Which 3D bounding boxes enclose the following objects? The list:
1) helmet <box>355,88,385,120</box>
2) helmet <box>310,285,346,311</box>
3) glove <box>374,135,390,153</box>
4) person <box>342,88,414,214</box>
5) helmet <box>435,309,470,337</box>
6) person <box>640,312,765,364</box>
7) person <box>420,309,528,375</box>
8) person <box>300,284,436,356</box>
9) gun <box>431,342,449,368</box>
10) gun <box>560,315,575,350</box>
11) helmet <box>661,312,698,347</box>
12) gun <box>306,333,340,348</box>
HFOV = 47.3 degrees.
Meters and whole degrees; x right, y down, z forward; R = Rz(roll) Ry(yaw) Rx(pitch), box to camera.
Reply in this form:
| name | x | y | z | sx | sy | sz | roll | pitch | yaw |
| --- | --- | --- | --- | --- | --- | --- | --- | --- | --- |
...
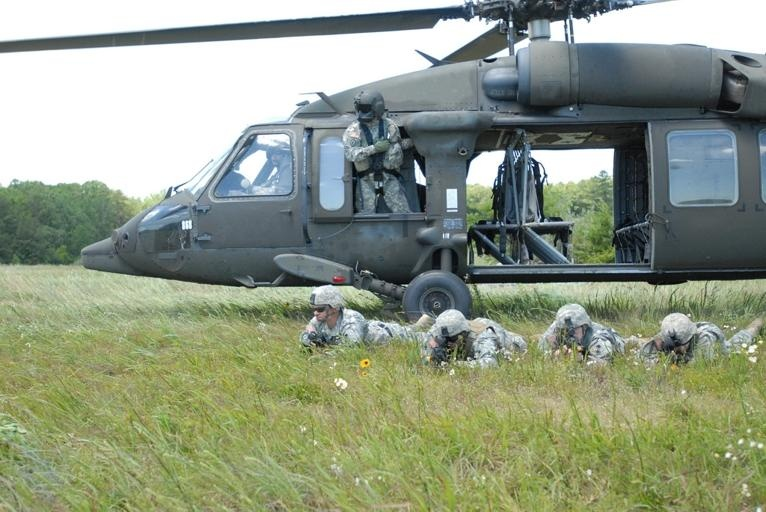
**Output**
| name | x | y | z | sx | sy | sz | roll | pitch | yaw |
| --- | --- | --- | --- | --- | --- | --- | --- | --- | --- |
| helmet | -0.182 | -2.064 | 11.970 | 0.324 | 0.364 | 0.446 | 4 | 2 | 41 |
| helmet | -0.674 | 0.505 | 10.670 | 0.349 | 0.269 | 0.258 | 17 | -6 | -34 |
| glove | -0.007 | -1.531 | 12.012 | 0.206 | 0.156 | 0.160 | 5 | 7 | 39 |
| person | -0.044 | -1.216 | 12.285 | 0.883 | 2.138 | 0.686 | -6 | 25 | -3 |
| helmet | 0.823 | 0.790 | 10.232 | 0.264 | 0.211 | 0.353 | 7 | 17 | 44 |
| person | 3.780 | 0.992 | 10.312 | 1.183 | 0.437 | 0.709 | -3 | -3 | -33 |
| person | 1.081 | 1.005 | 10.315 | 0.674 | 0.382 | 0.926 | -1 | -1 | 42 |
| person | -0.257 | 0.776 | 10.640 | 1.410 | 0.590 | 0.738 | 4 | -1 | -1 |
| gun | 0.621 | 1.191 | 10.267 | 0.285 | 0.221 | 0.399 | 5 | -28 | 4 |
| gun | 2.170 | 0.910 | 10.137 | 0.227 | 0.324 | 0.169 | -4 | 2 | 19 |
| helmet | 3.426 | 0.812 | 10.141 | 0.310 | 0.214 | 0.409 | -15 | 20 | 18 |
| gun | -0.736 | 1.012 | 10.661 | 0.218 | 0.126 | 0.287 | 3 | -2 | -40 |
